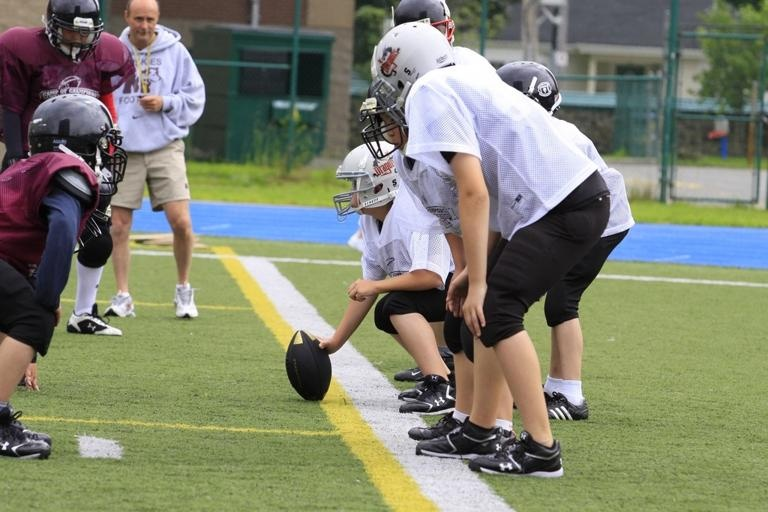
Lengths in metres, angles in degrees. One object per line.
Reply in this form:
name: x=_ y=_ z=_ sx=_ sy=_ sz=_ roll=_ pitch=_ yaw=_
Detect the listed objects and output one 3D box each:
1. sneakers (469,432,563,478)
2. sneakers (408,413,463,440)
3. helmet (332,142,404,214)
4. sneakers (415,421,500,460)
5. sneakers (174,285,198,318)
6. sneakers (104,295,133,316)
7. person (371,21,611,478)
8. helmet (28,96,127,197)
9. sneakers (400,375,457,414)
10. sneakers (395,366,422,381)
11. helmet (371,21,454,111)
sneakers: x=0.596 y=0.966 z=4.842 sx=0.552 sy=0.241 sz=0.181 roll=2 pitch=-6 yaw=6
sneakers: x=0.276 y=0.885 z=5.140 sx=0.338 sy=0.129 sz=0.112 roll=0 pitch=2 yaw=-2
helmet: x=-0.080 y=-0.448 z=5.856 sx=0.434 sy=0.362 sz=0.353 roll=-3 pitch=4 yaw=2
sneakers: x=0.384 y=0.906 z=4.922 sx=0.482 sy=0.202 sz=0.158 roll=1 pitch=3 yaw=7
sneakers: x=-1.384 y=0.317 z=7.023 sx=0.163 sy=0.228 sz=0.213 roll=-1 pitch=13 yaw=-12
sneakers: x=-1.854 y=0.354 z=6.972 sx=0.104 sy=0.126 sz=0.259 roll=1 pitch=-6 yaw=10
person: x=0.522 y=-0.068 z=4.933 sx=1.365 sy=2.200 sz=0.953 roll=-1 pitch=-3 yaw=21
helmet: x=-1.512 y=-0.551 z=4.971 sx=0.565 sy=0.515 sz=0.422 roll=-2 pitch=13 yaw=-32
sneakers: x=0.210 y=0.788 z=5.584 sx=0.411 sy=0.180 sz=0.147 roll=-1 pitch=-1 yaw=6
sneakers: x=0.162 y=0.716 z=5.990 sx=0.200 sy=0.084 sz=0.069 roll=3 pitch=-4 yaw=0
helmet: x=0.203 y=-0.939 z=4.844 sx=0.464 sy=0.411 sz=0.345 roll=7 pitch=22 yaw=15
